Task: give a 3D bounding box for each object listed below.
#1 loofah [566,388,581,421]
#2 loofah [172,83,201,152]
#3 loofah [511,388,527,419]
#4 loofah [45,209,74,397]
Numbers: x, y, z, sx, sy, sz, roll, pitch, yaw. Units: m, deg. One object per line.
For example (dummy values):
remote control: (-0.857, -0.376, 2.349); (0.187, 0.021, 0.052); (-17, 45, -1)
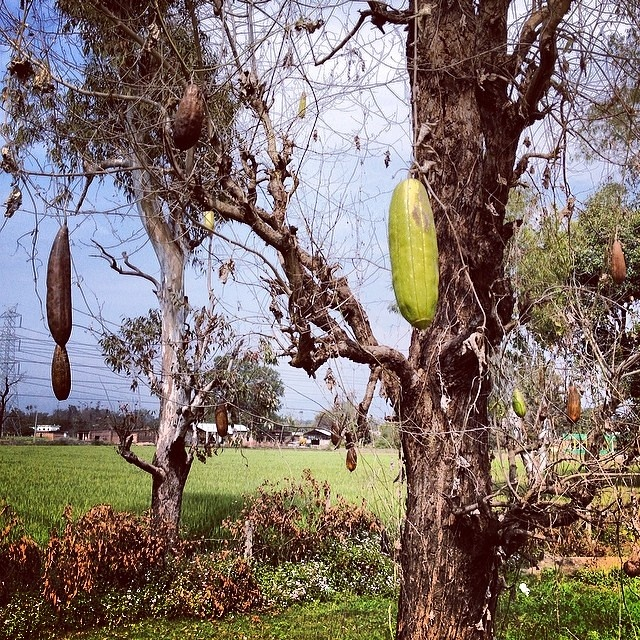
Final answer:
loofah: (1.335, 0.439, 3.647); (0.065, 0.212, 0.089); (1, -14, 7)
loofah: (-0.465, -0.707, 2.451); (0.080, 0.250, 0.111); (6, 11, 2)
loofah: (1.016, 0.423, 3.550); (0.031, 0.149, 0.088); (5, -10, -26)
loofah: (-0.896, -0.044, 2.393); (0.095, 0.597, 0.282); (4, -9, -22)
